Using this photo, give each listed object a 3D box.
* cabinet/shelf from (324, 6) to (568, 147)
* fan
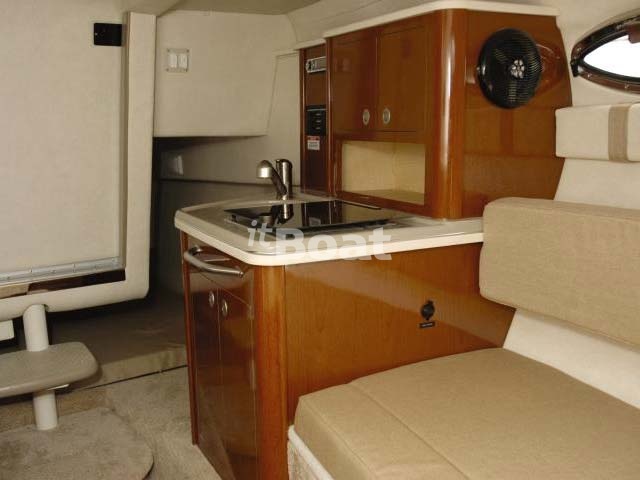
[{"bbox_3d":[0.531,-0.646,2.174,0.560,0.434,0.813,-7,10,-29],"label":"cabinet/shelf"},{"bbox_3d":[0.714,-0.635,1.989,0.311,0.286,0.067,-9,14,-31],"label":"fan"}]
